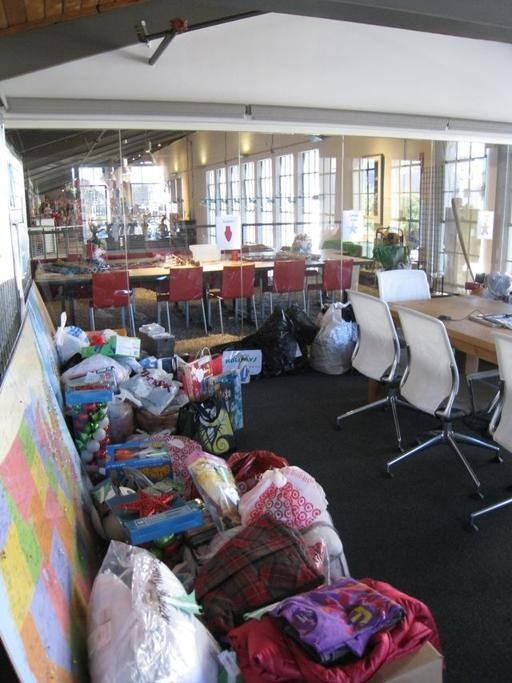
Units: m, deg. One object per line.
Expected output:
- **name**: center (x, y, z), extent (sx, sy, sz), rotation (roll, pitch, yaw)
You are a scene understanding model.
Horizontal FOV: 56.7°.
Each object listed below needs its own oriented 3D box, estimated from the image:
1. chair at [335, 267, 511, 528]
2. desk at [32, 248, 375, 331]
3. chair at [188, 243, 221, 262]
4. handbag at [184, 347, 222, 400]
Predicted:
- **chair**: center (1.041, 0.159, 3.155), extent (0.989, 1.243, 1.085), rotation (-6, 14, -18)
- **desk**: center (-0.519, -0.551, 4.784), extent (3.028, 0.634, 0.239), rotation (-6, 13, -21)
- **chair**: center (-0.509, -0.900, 4.806), extent (0.329, 0.217, 0.166), rotation (-4, 19, -14)
- **handbag**: center (-0.351, 0.212, 3.122), extent (0.086, 0.285, 0.213), rotation (10, 6, 28)
